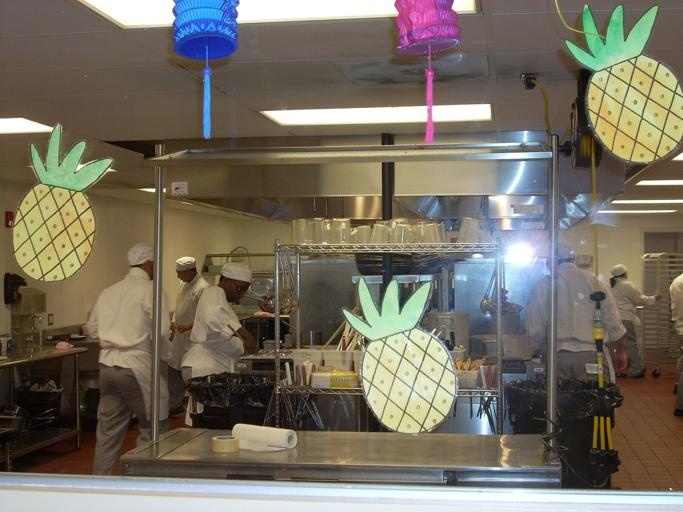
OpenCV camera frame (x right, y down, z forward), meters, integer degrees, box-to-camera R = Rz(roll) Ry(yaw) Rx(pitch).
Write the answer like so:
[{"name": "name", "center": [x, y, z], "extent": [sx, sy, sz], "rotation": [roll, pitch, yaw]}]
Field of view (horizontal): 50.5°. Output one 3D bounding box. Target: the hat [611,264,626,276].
[{"name": "hat", "center": [0.787, 0.040, 2.049], "extent": [0.042, 0.043, 0.028], "rotation": [6, 13, 32]}]

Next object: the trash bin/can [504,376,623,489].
[{"name": "trash bin/can", "center": [0.746, 0.575, 2.465], "extent": [0.290, 0.327, 0.252], "rotation": [-3, -4, 22]}]

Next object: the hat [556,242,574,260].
[{"name": "hat", "center": [0.674, -0.012, 2.157], "extent": [0.038, 0.036, 0.046], "rotation": [-1, 5, 7]}]

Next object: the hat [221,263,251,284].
[{"name": "hat", "center": [-0.618, 0.096, 4.234], "extent": [0.147, 0.087, 0.108], "rotation": [7, -2, -8]}]

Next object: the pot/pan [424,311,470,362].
[{"name": "pot/pan", "center": [0.399, 0.303, 2.726], "extent": [0.131, 0.130, 0.255], "rotation": [-8, -47, 2]}]

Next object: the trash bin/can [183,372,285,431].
[{"name": "trash bin/can", "center": [-0.524, 0.685, 3.472], "extent": [0.401, 0.190, 0.331], "rotation": [1, -5, 12]}]

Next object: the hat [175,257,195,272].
[{"name": "hat", "center": [-0.845, 0.040, 3.913], "extent": [0.079, 0.061, 0.103], "rotation": [-2, 5, -40]}]
